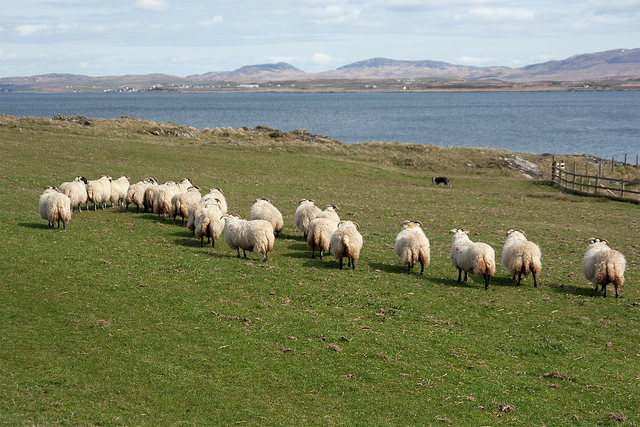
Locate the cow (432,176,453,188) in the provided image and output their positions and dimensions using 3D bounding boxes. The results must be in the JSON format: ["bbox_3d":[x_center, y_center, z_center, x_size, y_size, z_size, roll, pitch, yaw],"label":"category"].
[{"bbox_3d":[13.007,-3.284,84.255,2.001,0.972,3.477,1,9,5],"label":"cow"}]

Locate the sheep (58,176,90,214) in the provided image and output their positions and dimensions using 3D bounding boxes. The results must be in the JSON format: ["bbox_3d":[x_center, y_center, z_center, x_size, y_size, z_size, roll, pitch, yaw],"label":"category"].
[{"bbox_3d":[-18.433,-1.299,59.879,1.474,2.642,3.044,0,9,3],"label":"sheep"}]

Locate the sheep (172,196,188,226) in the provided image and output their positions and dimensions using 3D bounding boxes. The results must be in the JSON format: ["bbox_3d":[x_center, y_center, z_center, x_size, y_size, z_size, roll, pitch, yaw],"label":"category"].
[{"bbox_3d":[-10.628,-0.110,59.739,1.054,2.160,1.237,-2,10,-10],"label":"sheep"}]

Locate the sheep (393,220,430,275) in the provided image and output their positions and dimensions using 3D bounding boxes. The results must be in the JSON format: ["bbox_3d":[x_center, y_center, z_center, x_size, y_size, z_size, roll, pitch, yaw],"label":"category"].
[{"bbox_3d":[6.132,2.345,55.128,2.172,3.507,2.669,3,-5,-33],"label":"sheep"}]
